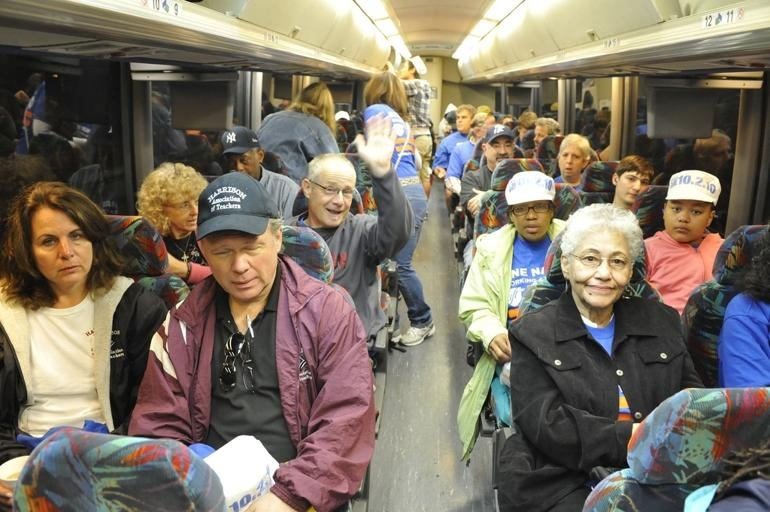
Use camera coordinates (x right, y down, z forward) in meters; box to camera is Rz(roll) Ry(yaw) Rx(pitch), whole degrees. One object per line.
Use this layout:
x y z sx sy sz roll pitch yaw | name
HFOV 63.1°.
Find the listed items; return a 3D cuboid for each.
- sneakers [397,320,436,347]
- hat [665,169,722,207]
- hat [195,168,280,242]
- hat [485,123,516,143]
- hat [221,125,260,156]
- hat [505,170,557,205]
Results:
0.297 0.803 6.401 0.420 0.209 0.165 -33 3 -23 | sneakers
2.299 -0.533 4.732 0.364 0.245 0.498 12 10 35 | hat
-0.718 -0.235 2.926 0.361 0.280 0.533 -5 18 0 | hat
1.338 -1.489 7.584 0.330 0.246 0.546 3 -4 1 | hat
-1.304 -1.059 5.694 0.211 0.176 0.315 0 21 9 | hat
1.054 -0.531 4.682 0.406 0.174 0.571 -3 12 7 | hat
